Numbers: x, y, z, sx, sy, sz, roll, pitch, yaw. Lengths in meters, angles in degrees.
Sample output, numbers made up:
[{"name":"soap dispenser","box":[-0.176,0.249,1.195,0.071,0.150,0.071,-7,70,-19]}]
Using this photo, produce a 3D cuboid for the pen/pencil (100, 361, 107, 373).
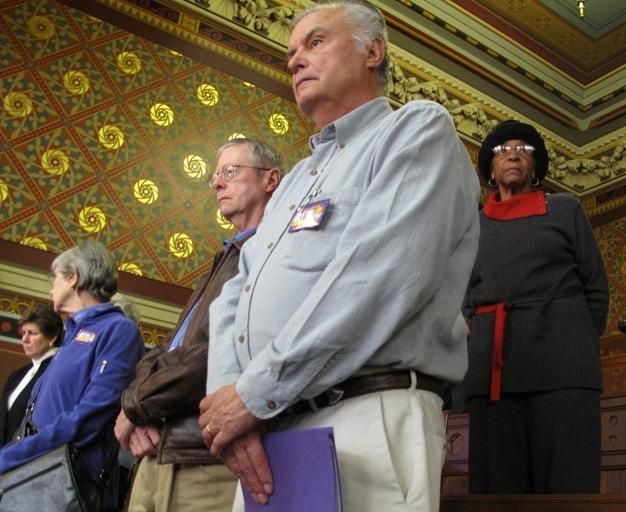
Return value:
[{"name":"pen/pencil","box":[-0.964,0.510,2.895,0.024,0.061,0.026,16,-24,-30]}]

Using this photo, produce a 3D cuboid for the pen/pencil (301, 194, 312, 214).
[{"name":"pen/pencil","box":[-0.018,-0.135,1.639,0.018,0.065,0.006,30,-59,-6]}]

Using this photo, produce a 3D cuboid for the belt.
[{"name":"belt","box":[0.116,0.317,1.422,0.251,0.071,0.225,1,-41,-4]}]

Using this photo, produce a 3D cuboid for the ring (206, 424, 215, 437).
[{"name":"ring","box":[-0.228,0.384,1.380,0.005,0.020,0.022,-30,-10,-3]}]

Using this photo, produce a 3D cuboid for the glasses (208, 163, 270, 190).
[{"name":"glasses","box":[-0.350,-0.324,2.752,0.150,0.043,0.142,12,-23,-38]}]

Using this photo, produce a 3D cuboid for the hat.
[{"name":"hat","box":[1.012,-0.564,3.186,0.291,0.284,0.376,5,-35,12]}]

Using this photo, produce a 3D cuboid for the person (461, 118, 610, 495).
[{"name":"person","box":[0.941,0.298,2.640,0.592,1.333,0.339,-1,-21,11]}]
